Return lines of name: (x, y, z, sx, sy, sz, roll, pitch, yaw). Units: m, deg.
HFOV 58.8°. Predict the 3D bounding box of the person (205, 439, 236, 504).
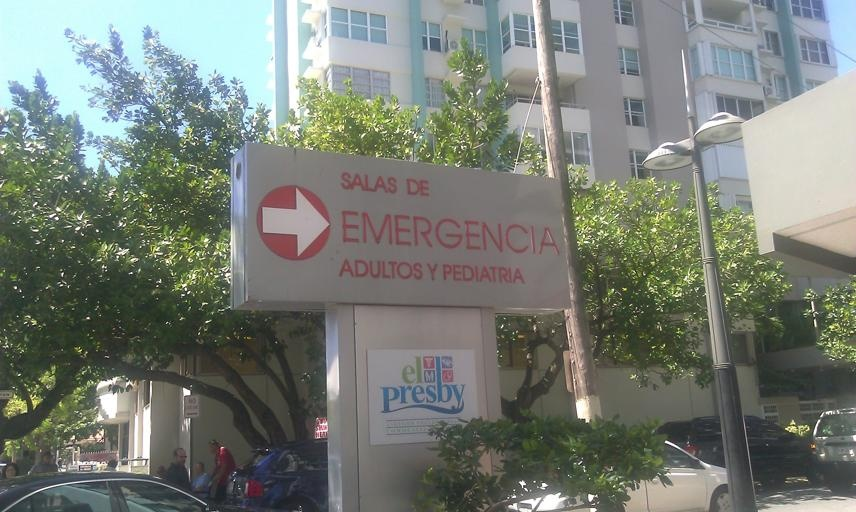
person: (-6.414, 6.898, 23.704, 0.866, 2.368, 0.885, -3, -20, -6)
